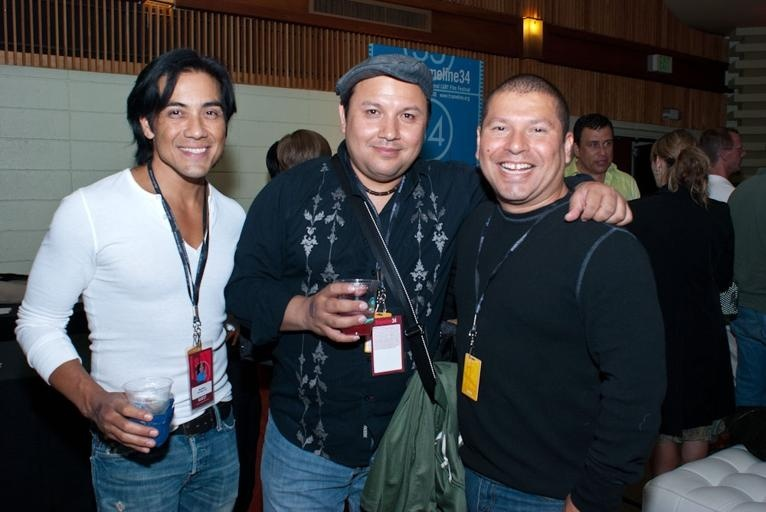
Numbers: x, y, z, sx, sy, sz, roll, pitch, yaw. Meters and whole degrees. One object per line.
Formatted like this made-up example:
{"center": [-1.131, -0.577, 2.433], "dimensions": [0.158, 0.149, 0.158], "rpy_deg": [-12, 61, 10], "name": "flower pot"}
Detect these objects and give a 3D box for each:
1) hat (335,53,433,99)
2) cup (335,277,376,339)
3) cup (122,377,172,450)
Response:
{"center": [0.015, -0.794, 2.423], "dimensions": [0.274, 0.110, 0.248], "rpy_deg": [-4, 13, -1], "name": "hat"}
{"center": [-0.165, 0.205, 2.241], "dimensions": [0.193, 0.226, 0.203], "rpy_deg": [1, 3, 0], "name": "cup"}
{"center": [-0.896, 0.603, 2.169], "dimensions": [0.159, 0.215, 0.175], "rpy_deg": [-5, 11, -33], "name": "cup"}
